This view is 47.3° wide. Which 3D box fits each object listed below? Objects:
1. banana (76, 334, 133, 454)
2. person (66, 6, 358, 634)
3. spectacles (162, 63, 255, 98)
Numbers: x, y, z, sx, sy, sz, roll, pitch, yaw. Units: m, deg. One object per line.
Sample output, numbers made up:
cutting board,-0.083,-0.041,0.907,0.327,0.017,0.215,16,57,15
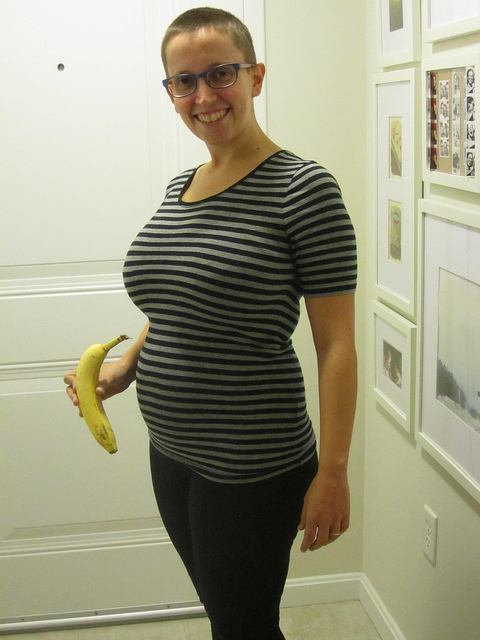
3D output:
banana,-0.267,0.143,1.106,0.095,0.325,0.080,0,-5,17
person,-0.023,0.003,0.873,0.294,0.929,0.435,-8,17,-15
spectacles,-0.050,-0.359,0.823,0.124,0.041,0.065,-3,18,4
